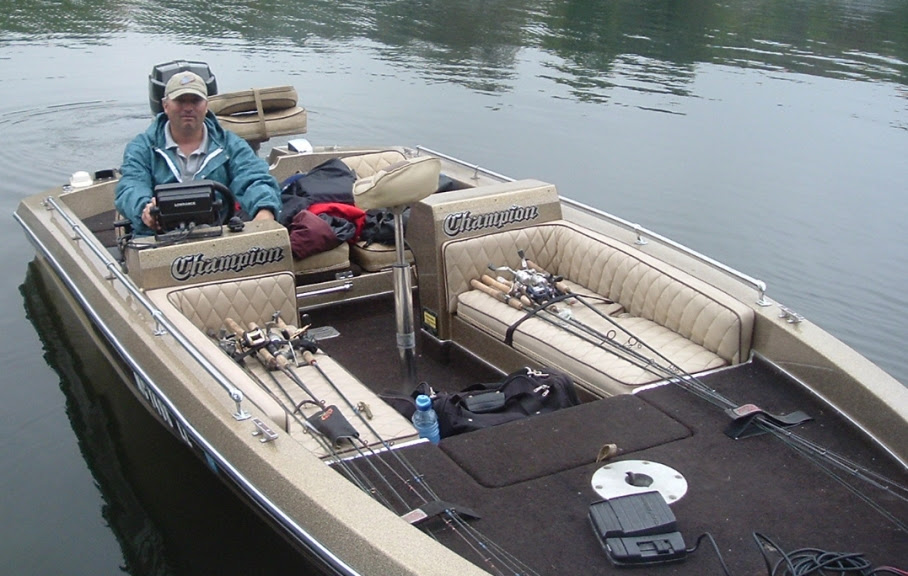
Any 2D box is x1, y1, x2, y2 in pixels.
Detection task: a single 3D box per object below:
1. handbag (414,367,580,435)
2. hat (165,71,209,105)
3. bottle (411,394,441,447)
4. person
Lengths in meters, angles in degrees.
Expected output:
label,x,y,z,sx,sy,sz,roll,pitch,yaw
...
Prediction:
label,x,y,z,sx,sy,sz,roll,pitch,yaw
handbag,0.268,0.607,3.769,0.616,0.188,0.416,-12,12,-11
hat,-1.801,-1.338,4.698,0.202,0.139,0.266,-1,9,-22
bottle,-0.139,0.676,3.530,0.118,0.280,0.115,-7,35,5
person,-1.807,-0.955,5.089,1.119,1.275,1.243,-12,27,-26
